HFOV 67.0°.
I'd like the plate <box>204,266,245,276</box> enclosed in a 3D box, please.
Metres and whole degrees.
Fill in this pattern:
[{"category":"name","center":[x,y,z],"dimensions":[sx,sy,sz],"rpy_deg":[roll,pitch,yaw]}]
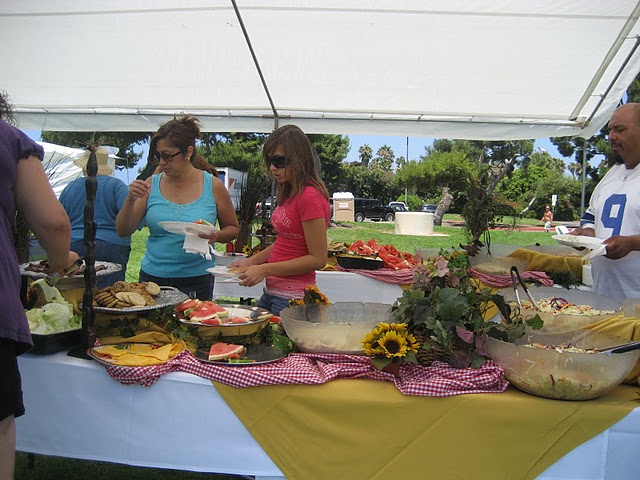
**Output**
[{"category":"plate","center":[-0.493,0.165,2.535],"dimensions":[0.134,0.027,0.177],"rpy_deg":[-3,13,-33]}]

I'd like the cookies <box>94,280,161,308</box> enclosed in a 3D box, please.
[{"category":"cookies","center":[-0.904,0.242,2.346],"dimensions":[0.252,0.117,0.253],"rpy_deg":[3,4,-2]}]

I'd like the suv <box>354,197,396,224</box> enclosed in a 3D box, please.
[{"category":"suv","center":[3.499,-2.019,32.506],"dimensions":[2.815,1.226,1.384],"rpy_deg":[-3,8,-8]}]

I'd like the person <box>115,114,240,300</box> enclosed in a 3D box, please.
[{"category":"person","center":[-0.962,-0.232,3.345],"dimensions":[0.563,1.557,0.527],"rpy_deg":[0,2,-9]}]

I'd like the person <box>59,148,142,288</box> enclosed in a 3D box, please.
[{"category":"person","center":[-2.014,-0.111,4.134],"dimensions":[0.425,1.320,0.630],"rpy_deg":[16,6,26]}]

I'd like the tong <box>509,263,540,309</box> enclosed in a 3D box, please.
[{"category":"tong","center":[0.981,0.234,2.368],"dimensions":[0.100,0.015,0.297],"rpy_deg":[9,37,-3]}]

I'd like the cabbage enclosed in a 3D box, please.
[{"category":"cabbage","center":[-1.330,0.355,2.387],"dimensions":[0.216,0.281,0.132],"rpy_deg":[-23,-17,-32]}]
